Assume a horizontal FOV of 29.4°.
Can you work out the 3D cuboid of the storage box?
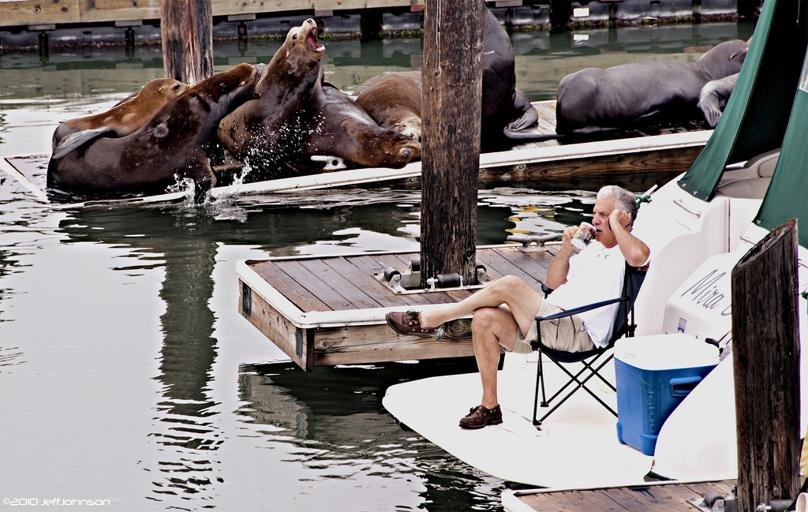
[{"bbox_3d":[2.131,1.152,12.527,0.914,0.734,0.843,-1,3,25],"label":"storage box"}]
